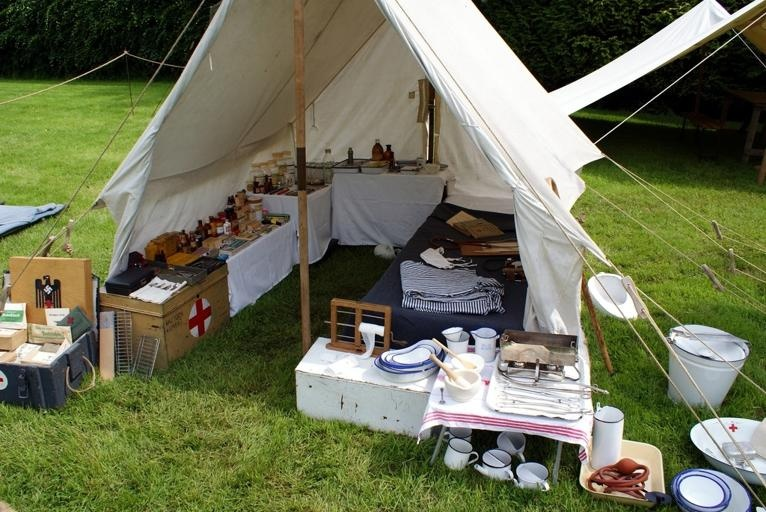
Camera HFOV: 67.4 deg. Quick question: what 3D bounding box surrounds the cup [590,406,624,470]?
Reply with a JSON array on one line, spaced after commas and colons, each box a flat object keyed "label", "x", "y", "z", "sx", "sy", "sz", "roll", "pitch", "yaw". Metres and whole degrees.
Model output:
[{"label": "cup", "x": 1.589, "y": 1.252, "z": 4.069, "sx": 0.227, "sy": 0.422, "sz": 0.234, "roll": 2, "pitch": -13, "yaw": 0}]

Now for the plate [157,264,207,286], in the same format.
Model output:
[{"label": "plate", "x": -1.744, "y": 0.155, "z": 4.980, "sx": 0.295, "sy": 0.043, "sz": 0.179, "roll": 3, "pitch": 35, "yaw": 13}]

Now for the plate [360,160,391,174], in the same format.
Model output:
[{"label": "plate", "x": -0.066, "y": -1.048, "z": 6.783, "sx": 0.382, "sy": 0.139, "sz": 0.216, "roll": 0, "pitch": 18, "yaw": -24}]

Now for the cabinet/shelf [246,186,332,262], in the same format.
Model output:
[{"label": "cabinet/shelf", "x": -1.024, "y": -0.478, "z": 6.453, "sx": 1.225, "sy": 0.818, "sz": 0.875, "roll": 3, "pitch": 25, "yaw": -2}]

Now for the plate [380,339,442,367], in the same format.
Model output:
[{"label": "plate", "x": 0.227, "y": 0.723, "z": 4.241, "sx": 0.303, "sy": 0.067, "sz": 0.204, "roll": -12, "pitch": 32, "yaw": -15}]

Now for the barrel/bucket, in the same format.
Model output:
[{"label": "barrel/bucket", "x": 2.586, "y": 0.889, "z": 4.511, "sx": 0.511, "sy": 0.508, "sz": 0.518, "roll": -4, "pitch": 18, "yaw": 1}]

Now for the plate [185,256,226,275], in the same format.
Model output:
[{"label": "plate", "x": -1.586, "y": 0.064, "z": 5.171, "sx": 0.172, "sy": 0.051, "sz": 0.193, "roll": 10, "pitch": 27, "yaw": 17}]

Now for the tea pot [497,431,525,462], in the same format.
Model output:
[{"label": "tea pot", "x": 0.918, "y": 1.323, "z": 4.112, "sx": 0.139, "sy": 0.161, "sz": 0.229, "roll": -16, "pitch": 39, "yaw": -5}]

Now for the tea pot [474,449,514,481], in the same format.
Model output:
[{"label": "tea pot", "x": 0.769, "y": 1.431, "z": 3.939, "sx": 0.232, "sy": 0.170, "sz": 0.158, "roll": -4, "pitch": 18, "yaw": 4}]

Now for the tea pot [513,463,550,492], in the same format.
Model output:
[{"label": "tea pot", "x": 1.011, "y": 1.496, "z": 3.898, "sx": 0.194, "sy": 0.148, "sz": 0.160, "roll": -2, "pitch": 6, "yaw": -17}]

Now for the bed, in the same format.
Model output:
[{"label": "bed", "x": 0.520, "y": 0.165, "z": 5.160, "sx": 0.735, "sy": 0.229, "sz": 1.542, "roll": 7, "pitch": 25, "yaw": 10}]
